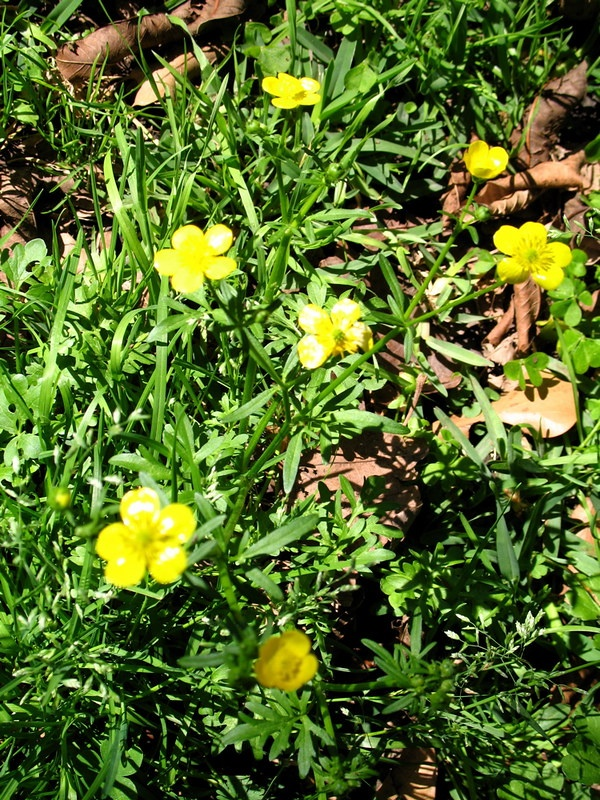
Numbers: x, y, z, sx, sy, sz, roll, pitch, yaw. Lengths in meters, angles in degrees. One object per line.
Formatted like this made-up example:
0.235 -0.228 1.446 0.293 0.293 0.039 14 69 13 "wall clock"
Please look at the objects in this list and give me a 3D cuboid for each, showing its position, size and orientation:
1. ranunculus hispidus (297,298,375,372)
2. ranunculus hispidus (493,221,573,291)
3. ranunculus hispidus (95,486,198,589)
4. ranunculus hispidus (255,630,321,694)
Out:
0.080 -0.164 1.586 0.044 0.222 0.175 37 96 39 "ranunculus hispidus"
0.576 -0.384 1.722 0.172 0.163 0.047 14 73 18 "ranunculus hispidus"
-0.300 0.277 1.321 0.199 0.041 0.186 21 64 11 "ranunculus hispidus"
-0.028 0.496 1.310 0.109 0.158 0.105 12 69 0 "ranunculus hispidus"
